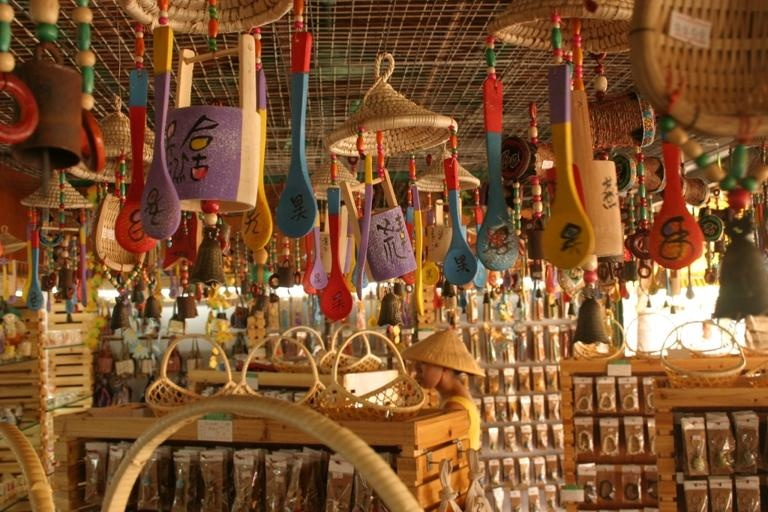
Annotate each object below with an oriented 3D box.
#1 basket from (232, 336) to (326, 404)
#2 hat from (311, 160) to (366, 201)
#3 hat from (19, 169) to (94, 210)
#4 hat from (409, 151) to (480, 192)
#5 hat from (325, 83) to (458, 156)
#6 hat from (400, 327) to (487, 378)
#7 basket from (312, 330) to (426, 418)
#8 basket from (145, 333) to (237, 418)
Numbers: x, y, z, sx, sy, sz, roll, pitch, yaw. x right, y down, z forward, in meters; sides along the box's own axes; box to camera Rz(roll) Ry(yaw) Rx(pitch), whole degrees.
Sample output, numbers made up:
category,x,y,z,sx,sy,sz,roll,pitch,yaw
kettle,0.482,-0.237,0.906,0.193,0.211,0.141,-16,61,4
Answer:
category,x,y,z,sx,sy,sz,roll,pitch,yaw
basket,-0.530,0.606,4.299,0.384,0.310,0.409,3,-13,-8
hat,-0.394,-0.575,5.954,0.344,0.249,0.373,0,-1,6
hat,-2.451,-0.483,5.975,0.512,0.310,0.550,0,-2,-6
hat,0.473,-0.660,6.035,0.535,0.356,0.550,6,10,35
hat,0.026,-0.707,4.465,0.682,0.358,0.709,0,-21,-5
hat,0.410,0.595,5.401,0.425,0.244,0.511,15,21,9
basket,-0.064,0.618,4.257,0.557,0.469,0.611,-1,-3,22
basket,-1.014,0.660,4.255,0.510,0.514,0.320,1,0,21
